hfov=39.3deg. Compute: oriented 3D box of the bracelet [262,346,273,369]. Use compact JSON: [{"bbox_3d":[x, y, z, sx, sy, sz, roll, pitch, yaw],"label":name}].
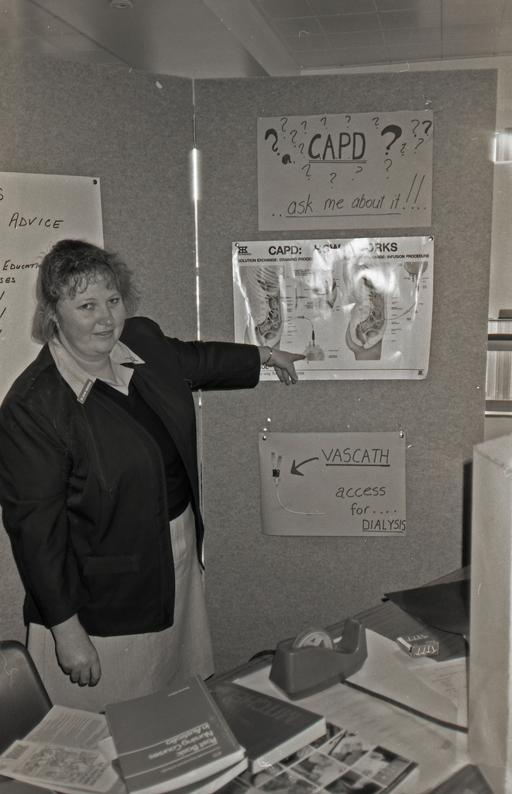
[{"bbox_3d":[0.024,-0.104,1.914,0.041,0.042,0.032,-6,33,-16],"label":"bracelet"}]
